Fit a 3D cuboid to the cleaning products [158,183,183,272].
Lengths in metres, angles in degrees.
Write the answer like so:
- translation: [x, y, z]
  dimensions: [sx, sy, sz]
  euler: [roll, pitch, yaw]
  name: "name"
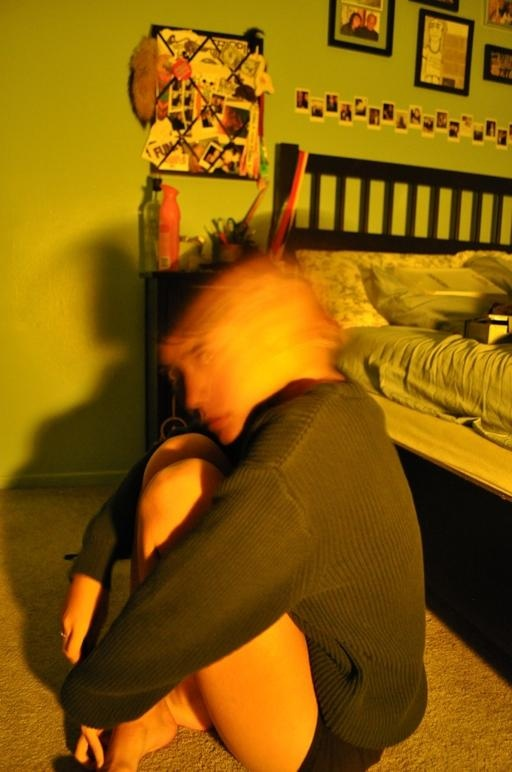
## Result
- translation: [-0.266, -0.486, 1.870]
  dimensions: [0.059, 0.248, 0.065]
  euler: [14, 23, 29]
  name: "cleaning products"
